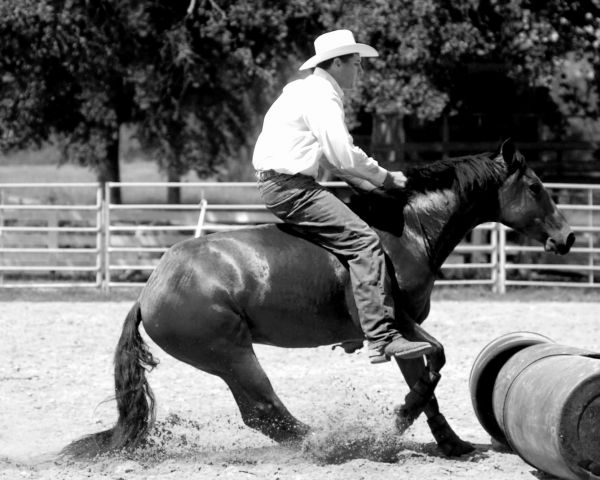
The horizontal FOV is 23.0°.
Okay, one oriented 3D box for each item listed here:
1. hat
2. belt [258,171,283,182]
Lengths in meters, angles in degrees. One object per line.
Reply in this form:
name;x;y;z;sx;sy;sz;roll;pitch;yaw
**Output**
hat;0.479;-1.887;15.581;0.672;0.274;0.601;1;-2;-3
belt;-0.316;-0.666;15.376;0.154;0.065;0.133;-7;7;-18
